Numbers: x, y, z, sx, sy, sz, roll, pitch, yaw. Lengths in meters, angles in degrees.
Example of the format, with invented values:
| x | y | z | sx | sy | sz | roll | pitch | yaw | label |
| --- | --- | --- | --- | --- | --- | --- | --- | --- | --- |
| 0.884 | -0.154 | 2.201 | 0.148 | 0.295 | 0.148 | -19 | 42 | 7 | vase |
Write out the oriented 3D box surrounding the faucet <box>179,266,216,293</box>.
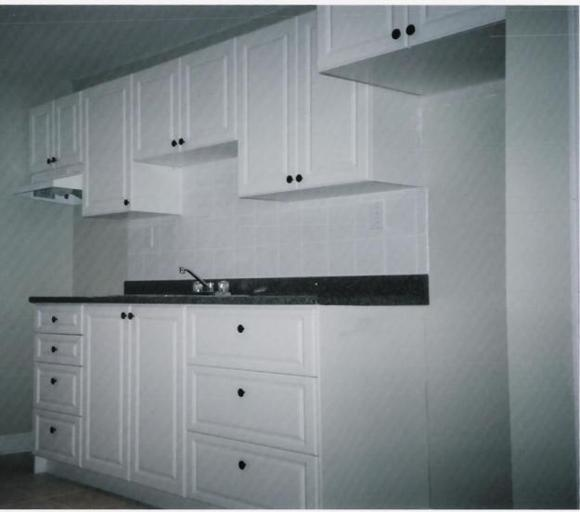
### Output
| x | y | z | sx | sy | sz | roll | pitch | yaw | label |
| --- | --- | --- | --- | --- | --- | --- | --- | --- | --- |
| -0.436 | 0.111 | 3.111 | 0.091 | 0.111 | 0.245 | -1 | -8 | 34 | faucet |

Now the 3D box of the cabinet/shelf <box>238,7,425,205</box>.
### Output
| x | y | z | sx | sy | sz | roll | pitch | yaw | label |
| --- | --- | --- | --- | --- | --- | --- | --- | --- | --- |
| -0.012 | -0.590 | 2.733 | 0.633 | 0.604 | 0.235 | -11 | 22 | -28 | cabinet/shelf |
